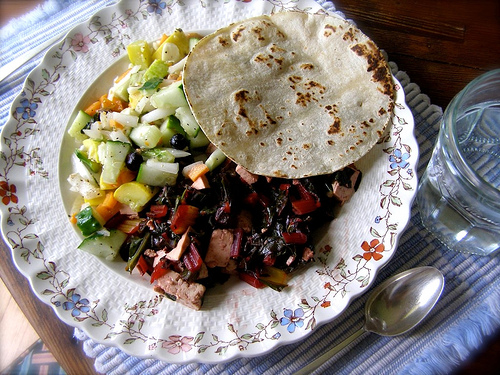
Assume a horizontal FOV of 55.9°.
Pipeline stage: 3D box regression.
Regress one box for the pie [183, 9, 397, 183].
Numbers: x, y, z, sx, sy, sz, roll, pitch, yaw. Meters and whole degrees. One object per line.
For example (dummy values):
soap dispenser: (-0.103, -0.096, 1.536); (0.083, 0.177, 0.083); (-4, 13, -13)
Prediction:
pie: (0.333, -0.681, 3.849); (1.338, 0.191, 1.349); (22, 72, 5)
